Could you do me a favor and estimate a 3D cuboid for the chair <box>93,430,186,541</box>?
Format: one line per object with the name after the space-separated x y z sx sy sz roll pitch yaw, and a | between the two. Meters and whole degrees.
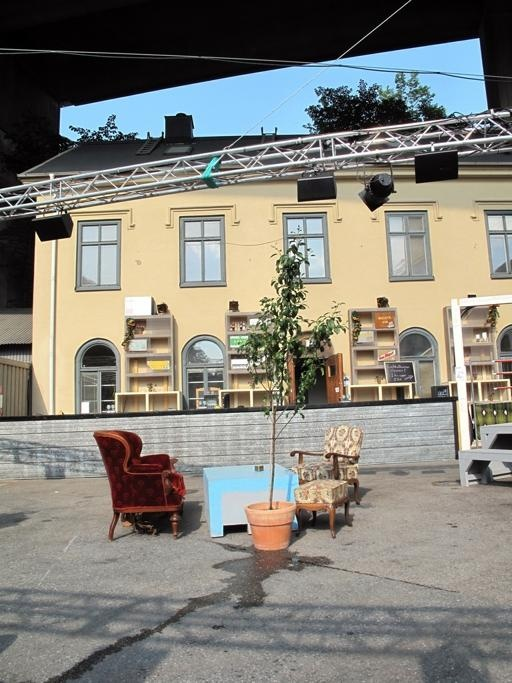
-1.076 1.461 6.016 1.207 1.322 1.192 0 -4 -3 | chair

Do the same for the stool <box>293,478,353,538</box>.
0.689 1.723 5.468 0.499 0.428 0.399 -14 -11 37 | stool

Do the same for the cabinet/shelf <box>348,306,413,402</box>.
3.169 0.322 13.592 1.526 2.352 0.991 -3 -3 9 | cabinet/shelf

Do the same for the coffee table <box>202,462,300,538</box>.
-0.114 1.599 5.635 0.794 0.497 0.815 0 -4 -13 | coffee table

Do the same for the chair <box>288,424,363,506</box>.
0.930 1.569 6.782 0.760 0.900 0.699 5 -8 -38 | chair

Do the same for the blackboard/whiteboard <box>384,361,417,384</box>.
3.638 0.800 13.305 0.637 0.458 0.051 1 -15 -11 | blackboard/whiteboard

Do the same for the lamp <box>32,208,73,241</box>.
-3.978 -2.232 10.197 0.703 0.466 0.468 -3 -2 -8 | lamp
